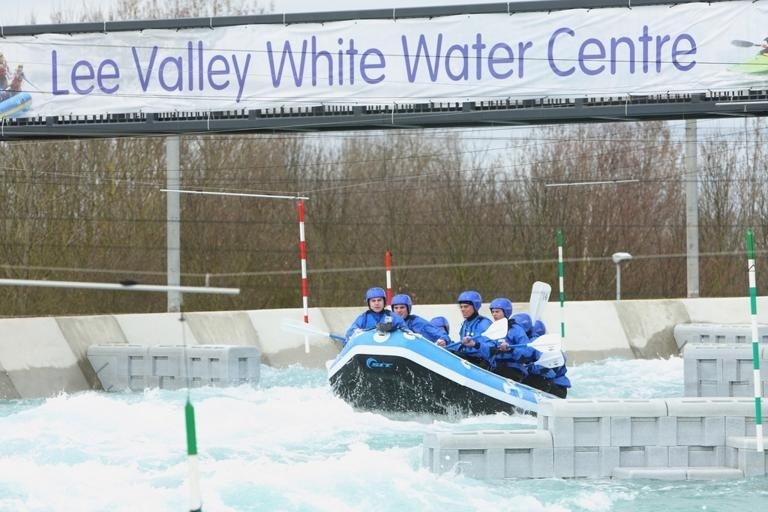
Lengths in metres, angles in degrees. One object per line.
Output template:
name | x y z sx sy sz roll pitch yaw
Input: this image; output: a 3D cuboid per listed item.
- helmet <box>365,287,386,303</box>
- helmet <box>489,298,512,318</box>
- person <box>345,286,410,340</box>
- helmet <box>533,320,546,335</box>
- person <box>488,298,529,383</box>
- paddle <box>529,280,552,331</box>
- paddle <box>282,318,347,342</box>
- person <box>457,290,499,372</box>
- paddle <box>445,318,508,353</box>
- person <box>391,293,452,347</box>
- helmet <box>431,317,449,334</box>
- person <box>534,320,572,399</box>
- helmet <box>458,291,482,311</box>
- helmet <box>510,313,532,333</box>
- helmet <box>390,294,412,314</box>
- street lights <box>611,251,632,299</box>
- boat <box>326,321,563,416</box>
helmet | -0.156 0.760 35.606 0.274 0.290 0.312 0 5 -1
helmet | 2.379 1.019 36.035 0.447 0.361 0.313 0 -5 -40
person | -0.164 0.769 35.310 1.504 1.381 0.883 -2 -10 4
helmet | 3.176 1.459 36.583 0.308 0.256 0.445 0 7 1
person | 2.467 1.738 35.588 0.876 1.797 1.024 11 -17 -7
paddle | 3.222 1.004 37.395 0.365 1.046 0.154 12 18 7
paddle | -1.514 1.550 37.450 1.473 0.245 0.147 16 -12 12
person | 1.865 1.562 35.849 0.983 1.780 1.043 10 -17 -28
paddle | 1.936 1.604 35.274 0.148 0.462 1.363 -7 -13 -28
person | 0.720 1.351 35.821 0.743 1.305 1.565 -2 1 2
helmet | 1.177 1.411 36.583 0.359 0.318 0.270 -4 7 -41
person | 3.381 2.074 35.665 1.070 1.482 0.638 -4 -6 37
helmet | 1.726 0.904 35.859 0.439 0.341 0.334 -14 14 -37
helmet | 2.788 1.332 36.169 0.314 0.428 0.385 -6 44 4
helmet | 0.342 0.934 35.886 0.288 0.359 0.389 1 5 8
street lights | 5.674 0.446 42.638 0.447 1.093 0.701 -4 0 7
boat | 1.067 2.506 34.715 3.435 1.088 1.901 22 -2 -24
